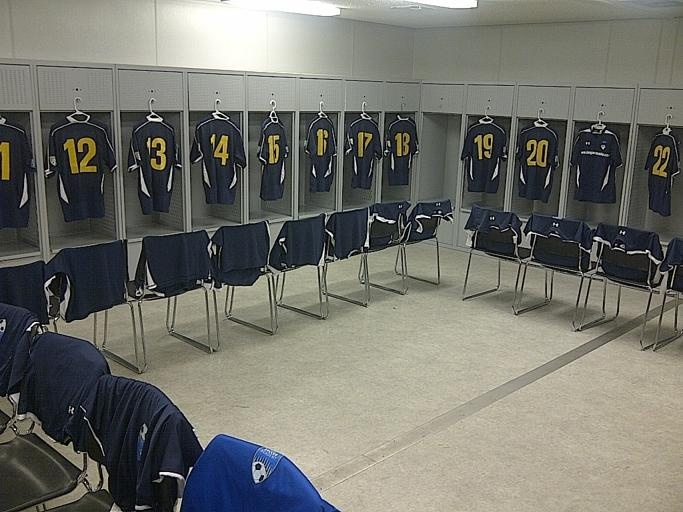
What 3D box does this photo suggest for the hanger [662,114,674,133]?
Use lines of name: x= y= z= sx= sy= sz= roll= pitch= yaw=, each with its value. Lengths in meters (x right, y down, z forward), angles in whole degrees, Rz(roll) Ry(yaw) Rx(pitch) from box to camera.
hanger: x=3.970 y=-1.618 z=6.210 sx=0.018 sy=0.263 sz=0.153 roll=-23 pitch=30 yaw=-36
